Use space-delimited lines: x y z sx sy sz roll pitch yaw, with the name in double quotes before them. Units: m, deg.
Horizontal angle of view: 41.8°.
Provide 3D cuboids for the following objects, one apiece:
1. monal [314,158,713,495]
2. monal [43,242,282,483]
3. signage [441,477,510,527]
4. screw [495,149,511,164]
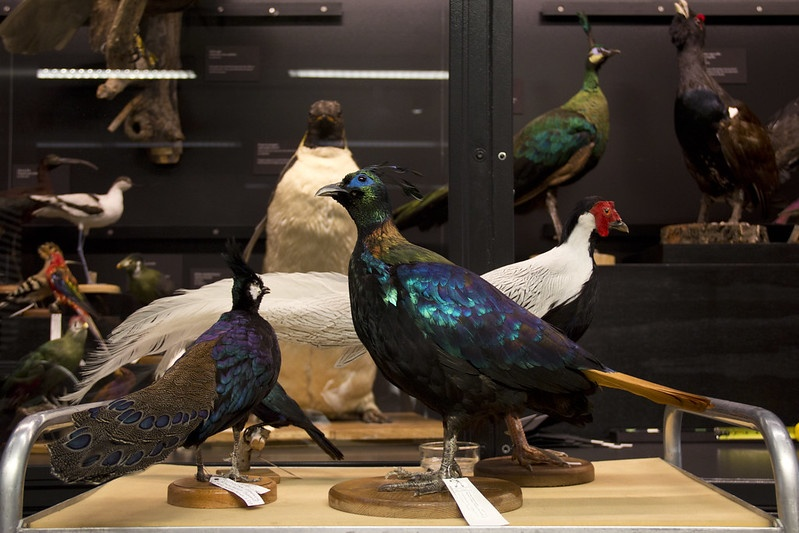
"monal" 0.249 0.107 2.169 0.843 0.603 0.275 2 -5 -6
"monal" -0.457 0.210 2.049 0.209 0.415 0.541 -3 -1 44
"signage" 0.144 0.455 2.021 0.075 0.051 0.133 -8 18 -21
"screw" 0.249 -0.270 2.568 0.041 0.034 0.012 9 3 -3
